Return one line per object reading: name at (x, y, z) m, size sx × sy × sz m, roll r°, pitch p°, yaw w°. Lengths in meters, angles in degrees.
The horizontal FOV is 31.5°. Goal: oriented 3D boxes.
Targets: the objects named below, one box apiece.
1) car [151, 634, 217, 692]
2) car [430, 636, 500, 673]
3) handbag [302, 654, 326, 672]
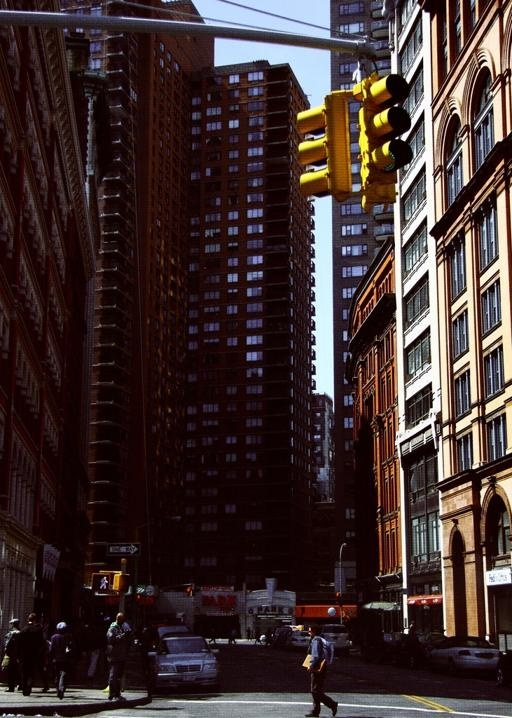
car at (-1.907, 7.873, 23.661) m, size 1.614 × 1.411 × 2.102 m, roll 7°, pitch -22°, yaw -19°
car at (7.098, 10.055, 30.804) m, size 1.144 × 1.277 × 3.789 m, roll 3°, pitch -22°, yaw -9°
handbag at (1.008, 5.249, 15.633) m, size 0.357 × 0.286 × 0.753 m, roll -2°, pitch -22°, yaw 5°
